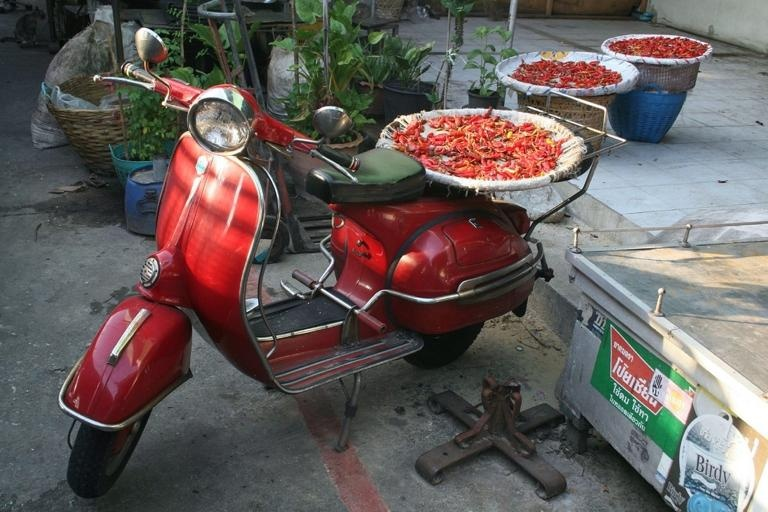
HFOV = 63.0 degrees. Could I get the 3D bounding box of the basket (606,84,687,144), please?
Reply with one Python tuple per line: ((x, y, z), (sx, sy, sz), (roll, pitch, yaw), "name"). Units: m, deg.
((2.741, -1.436, 6.634), (0.811, 0.712, 0.568), (9, 25, 13), "basket")
